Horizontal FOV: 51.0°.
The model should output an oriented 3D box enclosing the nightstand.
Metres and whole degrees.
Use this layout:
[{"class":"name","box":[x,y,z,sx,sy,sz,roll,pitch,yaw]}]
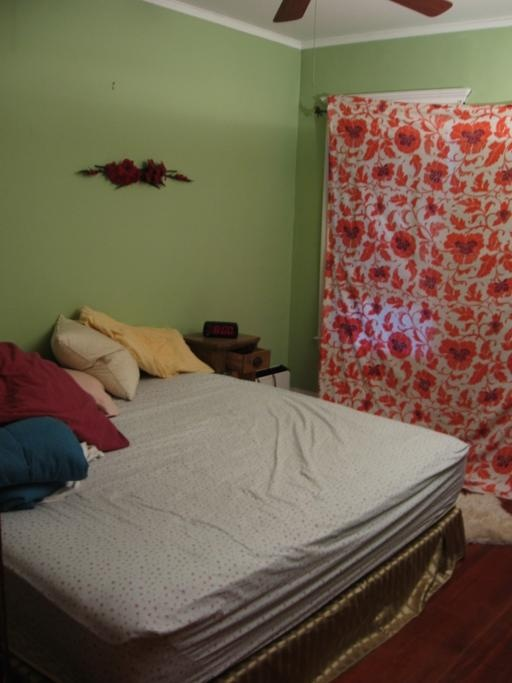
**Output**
[{"class":"nightstand","box":[-0.180,0.015,3.422,0.352,0.322,0.347,11,19,35]}]
